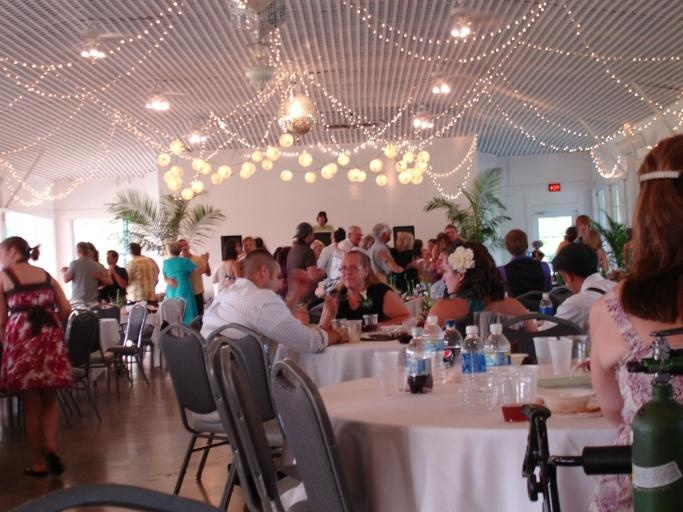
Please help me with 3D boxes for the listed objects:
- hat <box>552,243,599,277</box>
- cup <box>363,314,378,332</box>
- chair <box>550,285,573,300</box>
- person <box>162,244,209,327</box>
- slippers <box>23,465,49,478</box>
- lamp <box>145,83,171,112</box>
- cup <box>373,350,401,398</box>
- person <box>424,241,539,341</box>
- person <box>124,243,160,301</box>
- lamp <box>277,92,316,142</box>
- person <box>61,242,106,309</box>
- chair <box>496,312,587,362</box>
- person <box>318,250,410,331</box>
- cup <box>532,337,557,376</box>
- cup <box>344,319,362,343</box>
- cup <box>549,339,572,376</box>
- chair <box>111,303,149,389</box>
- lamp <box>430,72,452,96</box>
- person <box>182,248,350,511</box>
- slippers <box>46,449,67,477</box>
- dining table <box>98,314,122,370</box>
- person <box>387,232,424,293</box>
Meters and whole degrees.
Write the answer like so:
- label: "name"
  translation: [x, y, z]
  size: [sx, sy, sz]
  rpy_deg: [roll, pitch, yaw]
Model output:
- label: "hat"
  translation: [1.651, 0.028, 3.633]
  size: [0.195, 0.154, 0.281]
  rpy_deg: [-6, 19, 0]
- label: "cup"
  translation: [0.227, 0.521, 4.130]
  size: [0.116, 0.135, 0.116]
  rpy_deg: [-1, 1, 0]
- label: "chair"
  translation: [2.570, 0.425, 6.075]
  size: [0.232, 0.135, 0.326]
  rpy_deg: [-2, 0, 43]
- label: "person"
  translation: [-2.751, 0.535, 8.913]
  size: [0.650, 1.708, 0.547]
  rpy_deg: [7, 22, 4]
- label: "slippers"
  translation: [-2.300, 1.592, 3.905]
  size: [0.238, 0.068, 0.114]
  rpy_deg: [-3, -2, 30]
- label: "lamp"
  translation: [-3.741, -3.223, 10.524]
  size: [0.297, 0.361, 0.323]
  rpy_deg: [5, 30, 14]
- label: "cup"
  translation: [0.175, 0.451, 1.998]
  size: [0.123, 0.165, 0.129]
  rpy_deg: [-2, -13, -1]
- label: "person"
  translation: [1.051, 0.243, 3.788]
  size: [0.613, 0.926, 0.345]
  rpy_deg: [-3, 17, 13]
- label: "person"
  translation: [-3.594, 0.292, 9.317]
  size: [0.490, 1.059, 0.906]
  rpy_deg: [-1, -1, -23]
- label: "lamp"
  translation: [-0.712, -2.222, 8.106]
  size: [0.468, 0.749, 0.686]
  rpy_deg: [-1, -1, -9]
- label: "person"
  translation: [-3.998, 0.579, 7.994]
  size: [0.589, 1.539, 0.468]
  rpy_deg: [3, 6, -25]
- label: "chair"
  translation: [1.166, 0.493, 3.136]
  size: [0.631, 0.298, 0.576]
  rpy_deg: [0, -3, 25]
- label: "person"
  translation: [0.188, 0.342, 4.386]
  size: [0.696, 0.841, 0.489]
  rpy_deg: [-4, 7, 8]
- label: "cup"
  translation: [0.938, 0.478, 2.382]
  size: [0.115, 0.192, 0.120]
  rpy_deg: [10, -17, 3]
- label: "cup"
  translation: [0.087, 0.517, 3.610]
  size: [0.116, 0.139, 0.127]
  rpy_deg: [1, -2, 0]
- label: "cup"
  translation: [0.904, 0.400, 2.135]
  size: [0.127, 0.175, 0.120]
  rpy_deg: [0, 1, 0]
- label: "chair"
  translation: [-3.135, 1.219, 7.346]
  size: [0.605, 1.111, 0.547]
  rpy_deg: [3, -5, -43]
- label: "lamp"
  translation: [2.056, -3.542, 10.693]
  size: [0.310, 0.355, 0.353]
  rpy_deg: [-1, -39, 6]
- label: "person"
  translation: [-0.289, 0.552, 3.338]
  size: [0.858, 1.542, 0.942]
  rpy_deg: [-18, 15, -35]
- label: "slippers"
  translation: [-2.179, 1.565, 3.933]
  size: [0.102, 0.193, 0.069]
  rpy_deg: [-16, -13, -22]
- label: "dining table"
  translation: [-3.181, 1.103, 7.011]
  size: [0.314, 0.459, 0.316]
  rpy_deg: [-7, 5, -4]
- label: "person"
  translation: [1.067, 0.244, 9.328]
  size: [0.521, 1.731, 0.621]
  rpy_deg: [2, 24, -1]
